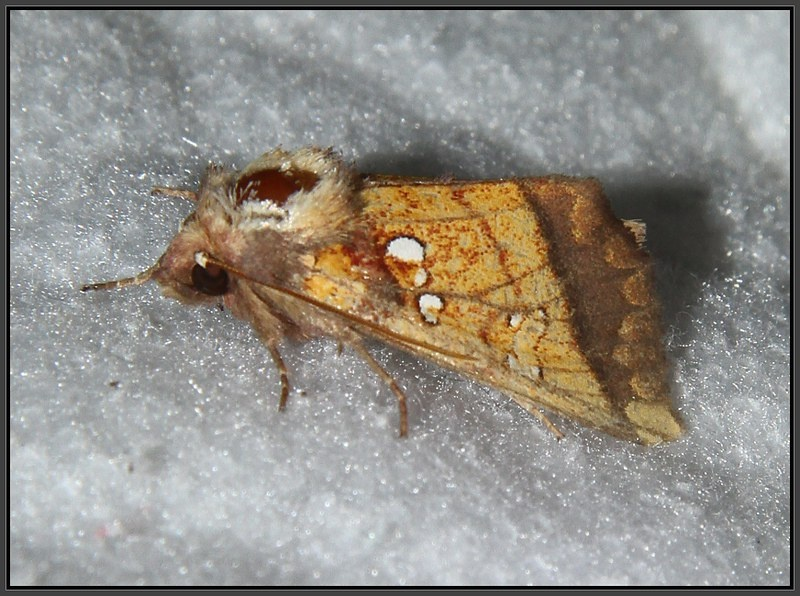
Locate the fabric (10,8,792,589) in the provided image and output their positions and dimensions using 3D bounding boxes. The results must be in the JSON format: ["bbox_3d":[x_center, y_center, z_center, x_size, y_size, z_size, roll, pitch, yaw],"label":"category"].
[{"bbox_3d":[-0.041,0.052,1.636,1.231,0.354,1.334,0,79,4],"label":"fabric"}]
